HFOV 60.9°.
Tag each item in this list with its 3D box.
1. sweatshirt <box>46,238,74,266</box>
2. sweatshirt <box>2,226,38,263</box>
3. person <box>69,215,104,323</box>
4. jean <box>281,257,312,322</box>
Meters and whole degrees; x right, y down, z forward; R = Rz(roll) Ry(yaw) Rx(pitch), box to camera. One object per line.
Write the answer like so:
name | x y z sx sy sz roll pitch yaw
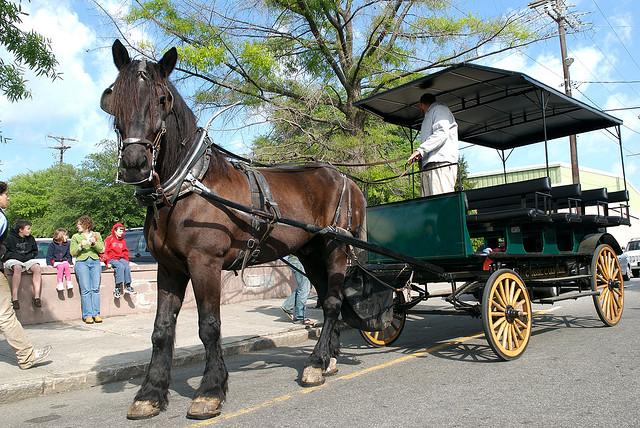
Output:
sweatshirt | -5.943 0.891 12.501 0.610 0.613 0.343 6 -31 -32
sweatshirt | -6.419 0.672 11.644 0.487 0.784 0.822 -18 -18 40
person | -5.276 1.269 12.404 0.635 2.373 0.650 -1 4 14
jean | -0.582 1.548 12.552 0.727 1.918 0.484 -6 -4 -2
